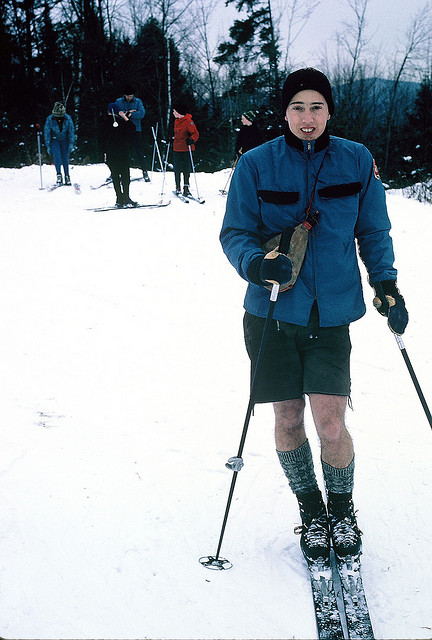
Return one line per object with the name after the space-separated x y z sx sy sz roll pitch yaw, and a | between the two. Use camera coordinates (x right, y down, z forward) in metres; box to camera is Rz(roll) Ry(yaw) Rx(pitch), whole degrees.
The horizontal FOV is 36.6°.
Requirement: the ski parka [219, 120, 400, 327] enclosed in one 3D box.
0.383 -0.379 2.590 0.697 0.803 0.440 -3 14 -10 | ski parka

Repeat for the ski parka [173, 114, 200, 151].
-0.483 -2.908 10.160 0.383 0.541 0.599 -4 20 -3 | ski parka

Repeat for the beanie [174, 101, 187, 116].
-0.540 -3.266 10.149 0.193 0.179 0.411 -3 19 -3 | beanie

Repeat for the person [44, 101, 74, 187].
-2.636 -2.980 11.115 0.457 1.371 1.713 -7 20 -12 | person

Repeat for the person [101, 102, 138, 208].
-1.336 -2.232 8.990 0.392 1.419 0.537 -5 20 -7 | person

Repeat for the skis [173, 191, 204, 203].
-0.427 -1.932 10.378 0.175 0.152 1.536 4 16 -14 | skis

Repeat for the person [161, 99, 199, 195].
-0.480 -2.669 10.330 0.400 1.429 0.910 -4 20 -4 | person

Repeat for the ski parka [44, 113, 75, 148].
-2.514 -3.044 10.502 0.473 0.507 0.354 -7 20 -12 | ski parka

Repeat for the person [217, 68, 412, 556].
0.429 -0.013 2.624 0.667 1.890 0.749 -16 24 -31 | person

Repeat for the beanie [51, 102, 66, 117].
-2.486 -3.325 10.394 0.289 0.149 0.373 1 28 1 | beanie

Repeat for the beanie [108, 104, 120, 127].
-1.348 -2.739 8.746 0.134 0.285 0.422 -6 20 -8 | beanie
